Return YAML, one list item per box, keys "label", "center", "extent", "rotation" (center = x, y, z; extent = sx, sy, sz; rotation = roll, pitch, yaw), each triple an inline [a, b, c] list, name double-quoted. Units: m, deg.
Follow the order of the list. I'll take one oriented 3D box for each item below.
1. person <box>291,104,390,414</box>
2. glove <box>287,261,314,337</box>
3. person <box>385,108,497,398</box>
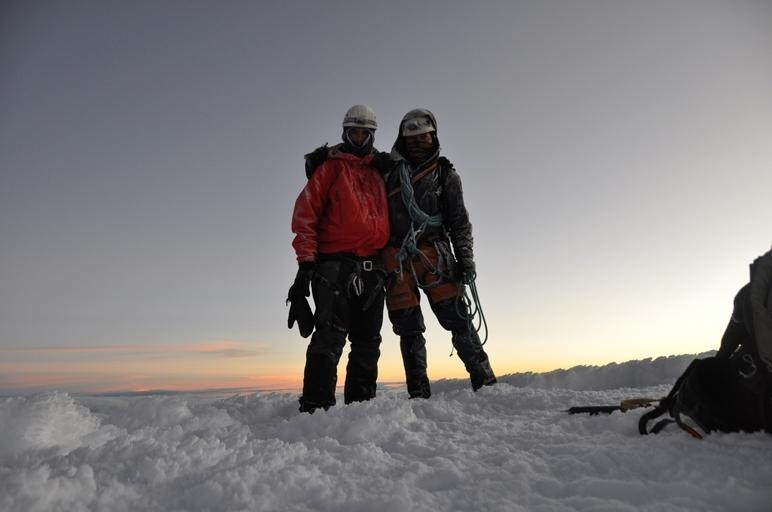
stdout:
- label: "person"
  center: [-0.424, -0.006, 4.920]
  extent: [1.146, 2.867, 0.499]
  rotation: [-4, 3, -41]
- label: "glove"
  center: [-0.757, 0.397, 4.678]
  extent: [0.245, 0.679, 0.251]
  rotation: [-3, 2, -11]
- label: "person"
  center: [0.491, -0.031, 5.378]
  extent: [1.010, 2.967, 0.426]
  rotation: [-3, 2, -14]
